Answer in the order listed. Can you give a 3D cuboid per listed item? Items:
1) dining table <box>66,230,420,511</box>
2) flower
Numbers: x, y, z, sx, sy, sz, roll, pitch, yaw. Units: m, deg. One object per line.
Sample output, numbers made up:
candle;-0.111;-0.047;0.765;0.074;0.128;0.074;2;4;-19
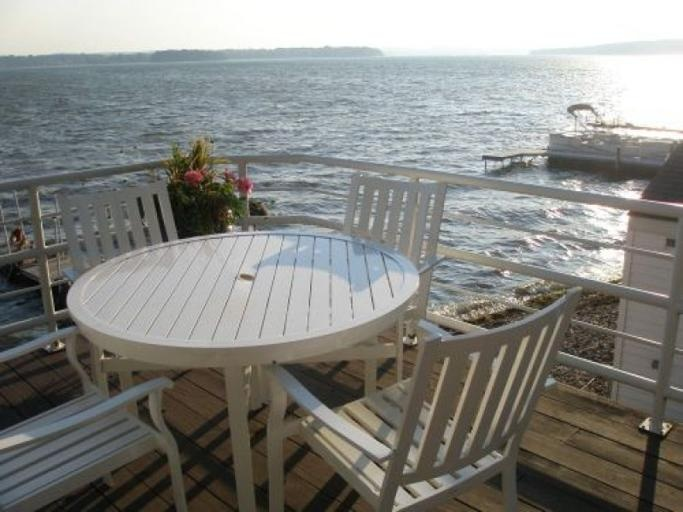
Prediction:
dining table;-0.578;0.278;2.339;1.325;0.845;1.273;-11;25;-24
flower;-1.197;-0.500;3.887;0.597;0.798;0.719;12;12;26
